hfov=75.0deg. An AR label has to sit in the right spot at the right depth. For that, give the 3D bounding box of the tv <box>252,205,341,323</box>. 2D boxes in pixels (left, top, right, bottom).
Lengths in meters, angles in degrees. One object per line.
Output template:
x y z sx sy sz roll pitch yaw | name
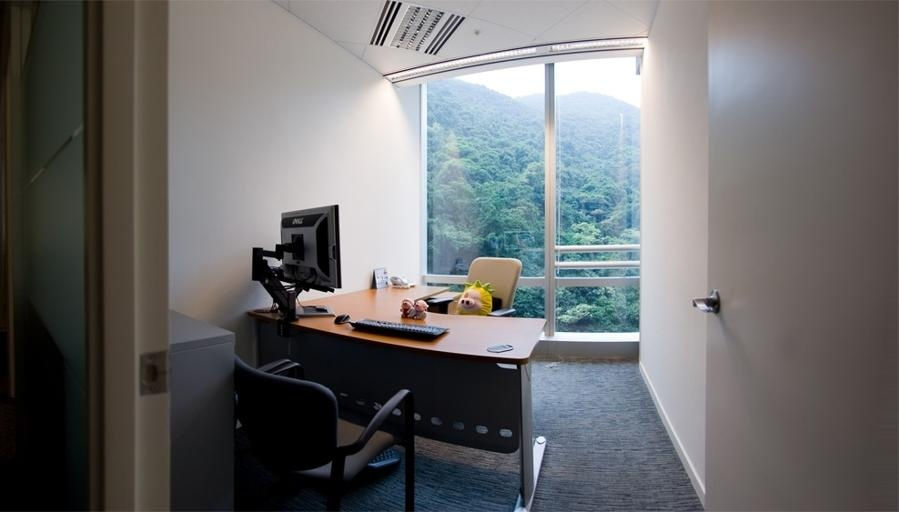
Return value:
-0.979 0.028 3.641 0.746 0.627 0.460 6 10 43 | tv

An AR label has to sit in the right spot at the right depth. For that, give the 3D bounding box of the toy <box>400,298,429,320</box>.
-0.230 0.312 3.702 0.139 0.125 0.099 5 -19 -2 | toy

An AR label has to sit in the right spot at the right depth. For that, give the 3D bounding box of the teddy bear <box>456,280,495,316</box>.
0.198 0.306 4.228 0.208 0.255 0.264 -2 43 7 | teddy bear

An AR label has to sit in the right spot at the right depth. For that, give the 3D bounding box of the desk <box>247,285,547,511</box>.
-0.031 0.567 3.731 1.526 0.715 1.202 3 9 24 | desk
